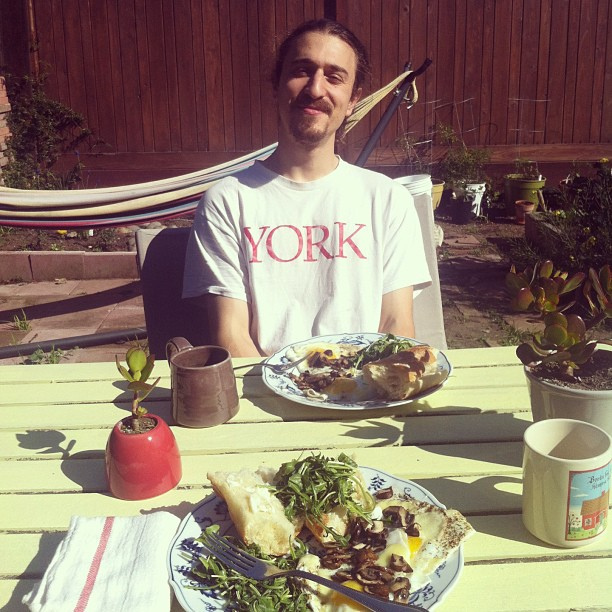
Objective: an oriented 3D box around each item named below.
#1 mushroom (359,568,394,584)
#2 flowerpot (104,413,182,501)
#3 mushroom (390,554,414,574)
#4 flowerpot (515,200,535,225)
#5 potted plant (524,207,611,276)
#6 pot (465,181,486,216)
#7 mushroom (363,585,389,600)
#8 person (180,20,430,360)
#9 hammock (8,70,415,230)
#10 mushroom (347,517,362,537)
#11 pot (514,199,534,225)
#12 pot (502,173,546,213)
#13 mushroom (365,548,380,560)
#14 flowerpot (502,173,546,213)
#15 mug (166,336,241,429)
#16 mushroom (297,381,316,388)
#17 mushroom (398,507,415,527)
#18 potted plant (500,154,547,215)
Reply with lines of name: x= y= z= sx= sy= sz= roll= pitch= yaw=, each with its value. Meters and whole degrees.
mushroom: x=0.088 y=0.341 z=0.790 sx=0.031 sy=0.006 sz=0.017 roll=11 pitch=6 yaw=-2
flowerpot: x=-0.263 y=0.258 z=1.076 sx=0.145 sy=0.099 sz=0.129 roll=1 pitch=22 yaw=3
mushroom: x=0.121 y=0.335 z=0.809 sx=0.026 sy=0.010 sz=0.018 roll=29 pitch=17 yaw=14
flowerpot: x=2.321 y=-1.037 z=6.893 sx=0.316 sy=0.244 sz=0.266 roll=0 pitch=16 yaw=3
potted plant: x=1.843 y=-0.454 z=4.364 sx=0.407 sy=0.171 sz=0.858 roll=-10 pitch=29 yaw=10
pot: x=1.923 y=-1.210 z=7.151 sx=0.204 sy=0.371 sz=0.386 roll=1 pitch=14 yaw=14
mushroom: x=0.086 y=0.352 z=0.766 sx=0.031 sy=0.011 sz=0.027 roll=-1 pitch=13 yaw=2
person: x=0.009 y=-0.393 z=2.040 sx=0.731 sy=1.085 sz=0.569 roll=-11 pitch=16 yaw=-32
hammock: x=-0.968 y=-1.427 z=5.254 sx=4.293 sy=0.906 sz=1.616 roll=-2 pitch=20 yaw=-5
mushroom: x=0.066 y=0.309 z=0.874 sx=0.023 sy=0.006 sz=0.014 roll=-49 pitch=11 yaw=-21
pot: x=2.329 y=-1.014 z=6.821 sx=0.303 sy=0.238 sz=0.268 roll=0 pitch=14 yaw=6
pot: x=2.414 y=-1.277 z=7.069 sx=0.512 sy=0.338 sz=0.510 roll=-1 pitch=12 yaw=0
mushroom: x=0.085 y=0.327 z=0.822 sx=0.017 sy=0.004 sz=0.015 roll=8 pitch=14 yaw=-14
flowerpot: x=2.407 y=-1.271 z=7.088 sx=0.512 sy=0.340 sz=0.510 roll=-2 pitch=10 yaw=-1
mug: x=-0.216 y=0.157 z=1.282 sx=0.150 sy=0.160 sz=0.132 roll=-3 pitch=14 yaw=-2
mushroom: x=0.001 y=0.174 z=1.379 sx=0.029 sy=0.006 sz=0.007 roll=13 pitch=37 yaw=24
mushroom: x=0.145 y=0.305 z=0.896 sx=0.021 sy=0.006 sz=0.018 roll=5 pitch=39 yaw=-10
potted plant: x=2.513 y=-1.356 z=7.045 sx=0.350 sy=0.408 sz=0.288 roll=-8 pitch=28 yaw=2
